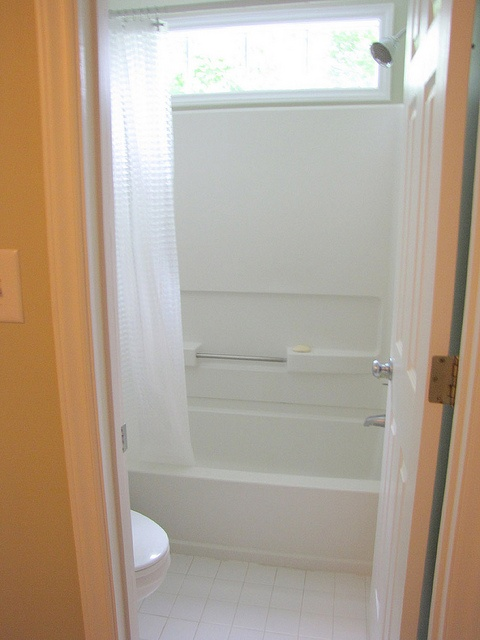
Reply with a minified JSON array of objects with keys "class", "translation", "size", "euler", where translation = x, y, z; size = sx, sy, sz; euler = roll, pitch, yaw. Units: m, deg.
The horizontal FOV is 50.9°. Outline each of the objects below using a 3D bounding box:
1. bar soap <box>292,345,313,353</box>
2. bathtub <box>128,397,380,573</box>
[{"class":"bar soap","translation":[0.334,0.156,2.702],"size":[0.097,0.026,0.046],"euler":[0,16,1]},{"class":"bathtub","translation":[0.126,0.707,2.310],"size":[1.030,0.392,0.798],"euler":[4,17,14]}]
